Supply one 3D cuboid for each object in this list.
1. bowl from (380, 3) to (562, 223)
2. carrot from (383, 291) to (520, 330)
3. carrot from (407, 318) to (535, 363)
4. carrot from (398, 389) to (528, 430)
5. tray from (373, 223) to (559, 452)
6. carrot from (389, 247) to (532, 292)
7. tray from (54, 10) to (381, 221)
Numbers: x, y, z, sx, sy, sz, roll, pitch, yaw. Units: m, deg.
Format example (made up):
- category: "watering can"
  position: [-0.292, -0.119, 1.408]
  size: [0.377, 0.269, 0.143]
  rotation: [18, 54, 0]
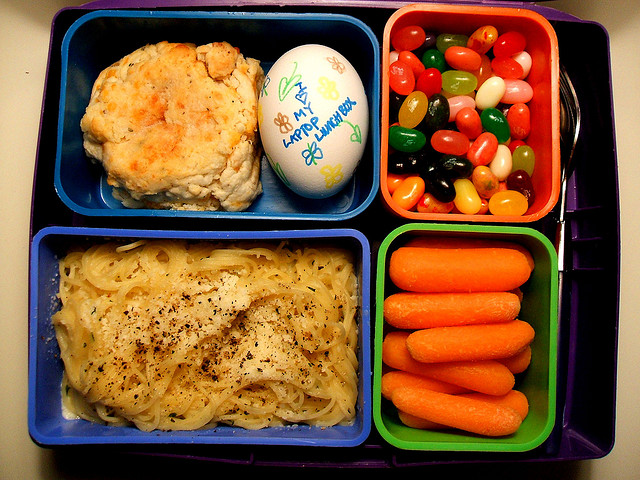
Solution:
- category: "bowl"
  position: [0.512, -0.427, 2.319]
  size: [0.608, 0.185, 0.735]
  rotation: [2, 82, 1]
- category: "carrot"
  position: [0.447, 0.222, 2.296]
  size: [0.457, 0.136, 0.146]
  rotation: [-6, 37, 24]
- category: "carrot"
  position: [0.500, 0.334, 2.222]
  size: [0.426, 0.060, 0.116]
  rotation: [-5, 82, 0]
- category: "carrot"
  position: [0.493, 0.581, 2.384]
  size: [0.457, 0.149, 0.160]
  rotation: [-3, 101, 25]
- category: "tray"
  position: [0.453, 0.349, 2.412]
  size: [0.555, 0.718, 0.833]
  rotation: [-3, 114, -2]
- category: "carrot"
  position: [0.482, 0.105, 2.297]
  size: [0.493, 0.157, 0.144]
  rotation: [0, 81, 1]
- category: "tray"
  position: [-0.360, -0.418, 2.101]
  size: [0.970, 0.325, 0.727]
  rotation: [2, 92, 1]
